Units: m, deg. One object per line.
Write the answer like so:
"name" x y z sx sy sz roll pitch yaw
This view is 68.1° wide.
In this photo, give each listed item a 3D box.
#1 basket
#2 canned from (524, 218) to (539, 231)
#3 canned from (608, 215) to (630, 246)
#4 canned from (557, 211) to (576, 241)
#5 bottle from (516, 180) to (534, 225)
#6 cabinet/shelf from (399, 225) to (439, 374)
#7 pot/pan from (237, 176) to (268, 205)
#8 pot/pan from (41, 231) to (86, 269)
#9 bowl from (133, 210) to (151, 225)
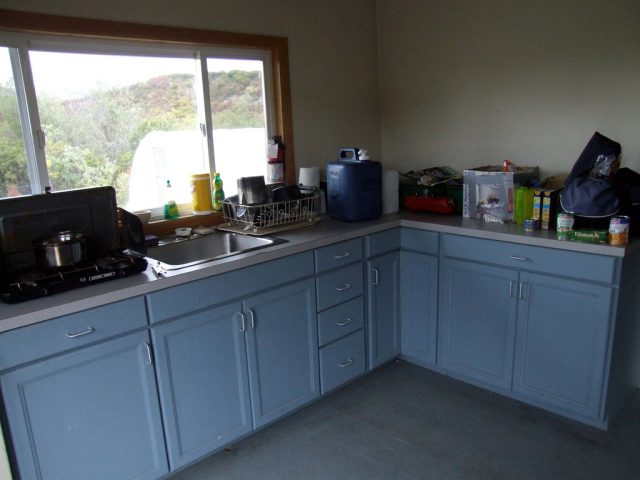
"basket" -0.292 -0.149 3.109 0.312 0.166 0.436 14 23 42
"canned" 1.252 -0.089 2.796 0.064 0.054 0.067 13 25 43
"canned" 1.595 -0.060 2.517 0.096 0.141 0.190 4 17 32
"canned" 1.374 -0.079 2.638 0.086 0.134 0.107 3 16 28
"bottle" 1.266 -0.204 2.908 0.035 0.227 0.138 -12 16 -28
"cabinet/shelf" 0.678 0.383 3.228 0.282 0.912 0.080 8 19 41
"pot/pan" -0.412 -0.340 3.016 0.171 0.245 0.168 -14 18 -36
"pot/pan" -1.208 0.062 2.254 0.167 0.109 0.166 -15 21 -35
"bowl" -1.065 -0.133 2.877 0.089 0.078 0.101 -12 16 -24
